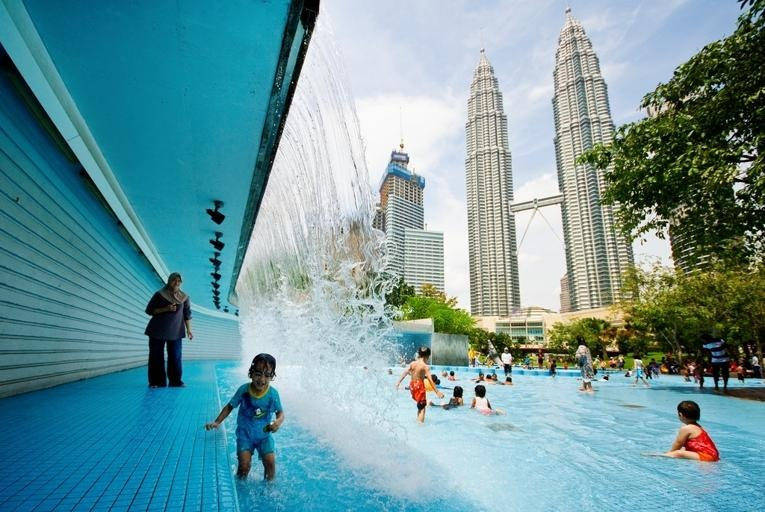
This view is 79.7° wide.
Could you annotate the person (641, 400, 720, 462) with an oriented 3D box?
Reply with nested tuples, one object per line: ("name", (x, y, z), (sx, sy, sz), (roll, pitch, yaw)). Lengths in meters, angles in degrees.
("person", (4.707, 2.795, 7.236), (0.803, 0.845, 1.016), (4, -13, -13))

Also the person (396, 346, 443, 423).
("person", (0.768, 2.666, 9.061), (0.923, 1.556, 0.567), (-6, -10, 30))

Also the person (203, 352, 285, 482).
("person", (-1.566, 1.991, 5.594), (0.747, 1.502, 0.539), (2, -15, -13))
